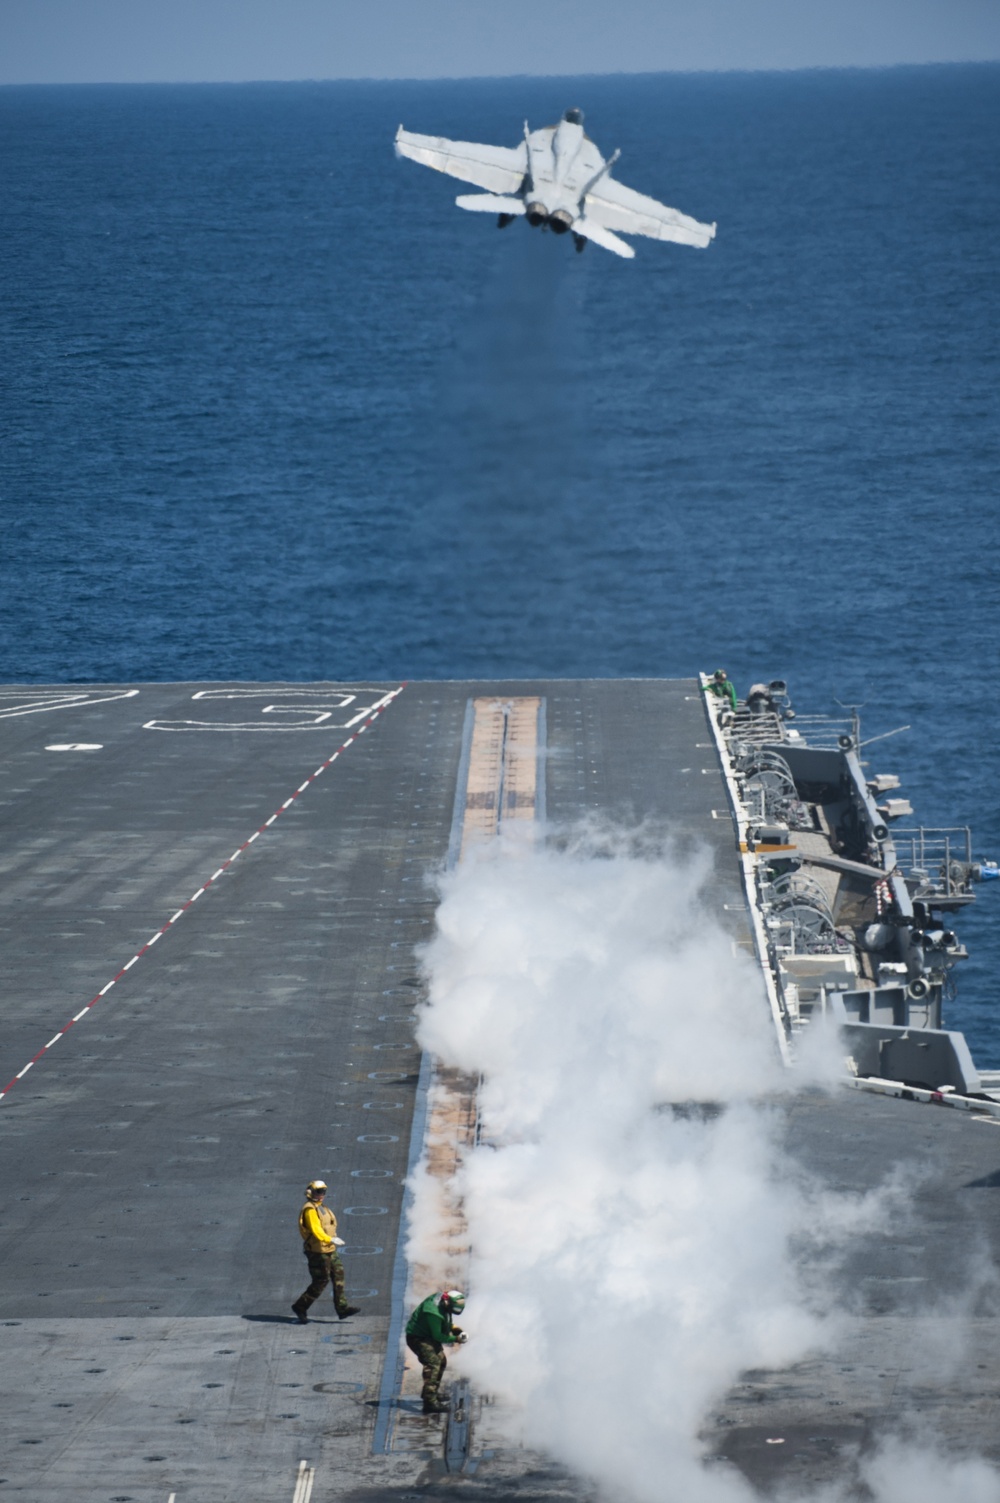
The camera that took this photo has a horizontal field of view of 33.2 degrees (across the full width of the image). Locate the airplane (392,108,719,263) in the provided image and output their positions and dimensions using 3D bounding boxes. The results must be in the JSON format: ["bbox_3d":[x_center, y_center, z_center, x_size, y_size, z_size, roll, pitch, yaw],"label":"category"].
[{"bbox_3d":[2.183,-24.262,71.362,10.335,6.987,9.726,-4,10,-25],"label":"airplane"}]

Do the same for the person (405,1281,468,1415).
[{"bbox_3d":[-0.980,8.446,24.344,0.759,1.873,1.497,0,9,-4],"label":"person"}]
